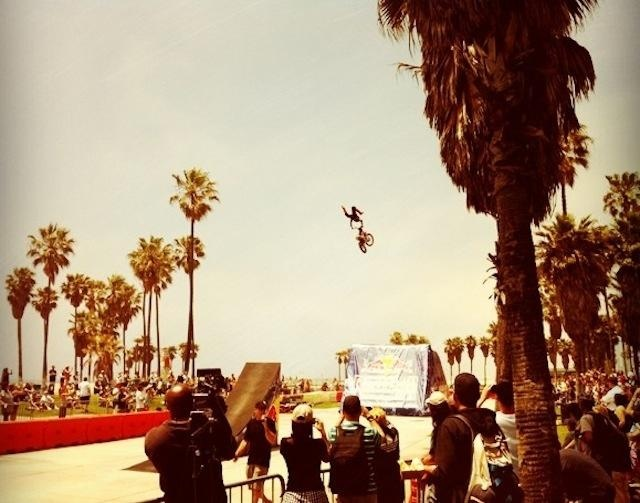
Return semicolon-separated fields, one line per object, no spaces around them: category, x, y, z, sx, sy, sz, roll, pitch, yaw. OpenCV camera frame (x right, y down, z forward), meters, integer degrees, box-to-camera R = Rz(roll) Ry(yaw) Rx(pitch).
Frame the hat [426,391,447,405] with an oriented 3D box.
hat;1.970;2.424;9.722;0.216;0.165;0.305;-1;-4;25

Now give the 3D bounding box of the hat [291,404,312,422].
hat;-0.268;2.663;9.772;0.203;0.148;0.358;2;8;3
